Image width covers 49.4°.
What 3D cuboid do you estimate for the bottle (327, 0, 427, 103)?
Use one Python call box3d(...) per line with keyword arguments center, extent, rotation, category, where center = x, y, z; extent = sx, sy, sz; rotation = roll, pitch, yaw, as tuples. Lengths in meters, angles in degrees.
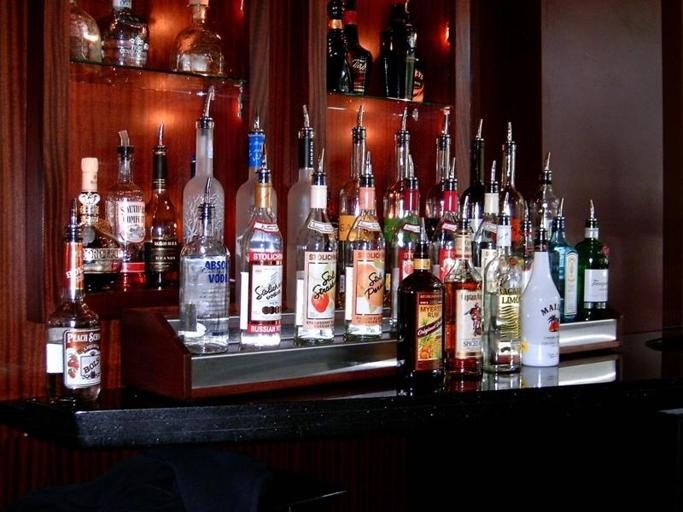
box3d(center=(0.126, -0.701, 2.584), extent=(0.400, 0.377, 0.155), rotation=(-2, 3, -28), category="bottle")
